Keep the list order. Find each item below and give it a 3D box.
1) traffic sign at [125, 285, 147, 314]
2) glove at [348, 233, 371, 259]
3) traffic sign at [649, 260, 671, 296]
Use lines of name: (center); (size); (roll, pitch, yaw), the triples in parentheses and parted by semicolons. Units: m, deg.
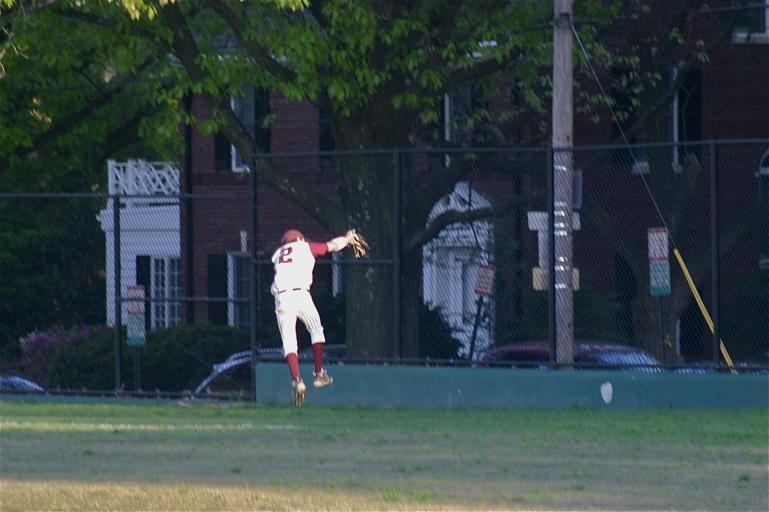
traffic sign: (-5.667, 0.976, 50.208); (0.571, 0.675, 0.483); (5, 4, 2)
glove: (-0.562, -0.270, 49.147); (0.441, 0.533, 0.176); (-20, 6, -39)
traffic sign: (6.035, 0.376, 48.829); (0.398, 0.910, 0.062); (-2, -1, 12)
